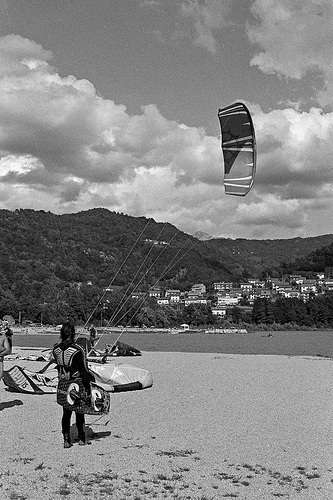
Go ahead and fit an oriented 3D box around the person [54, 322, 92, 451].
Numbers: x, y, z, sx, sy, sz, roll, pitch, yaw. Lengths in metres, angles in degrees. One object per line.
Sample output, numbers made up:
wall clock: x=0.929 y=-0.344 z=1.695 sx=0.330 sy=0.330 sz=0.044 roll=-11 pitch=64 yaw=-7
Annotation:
person: x=-1.230 y=1.780 z=7.515 sx=0.472 sy=1.668 sz=0.687 roll=-2 pitch=-4 yaw=-8
